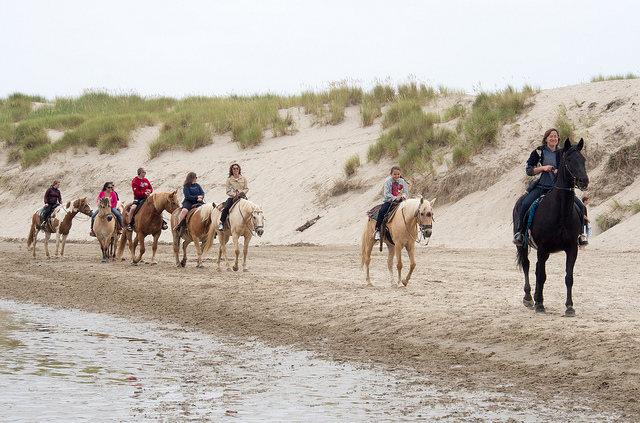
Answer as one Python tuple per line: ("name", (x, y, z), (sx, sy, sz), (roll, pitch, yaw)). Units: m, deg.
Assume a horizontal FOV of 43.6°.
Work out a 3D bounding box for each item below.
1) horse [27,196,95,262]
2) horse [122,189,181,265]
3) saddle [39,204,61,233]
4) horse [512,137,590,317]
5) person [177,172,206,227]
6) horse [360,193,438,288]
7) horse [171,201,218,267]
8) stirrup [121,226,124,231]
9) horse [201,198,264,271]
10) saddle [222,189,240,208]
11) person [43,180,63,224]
("horse", (-9.159, 0.667, 28.075), (2.932, 2.108, 0.704), (-5, -7, 28))
("horse", (-5.586, 0.569, 25.756), (0.887, 2.418, 3.316), (6, -7, -43))
("saddle", (-9.515, 0.146, 28.075), (0.693, 0.712, 0.212), (2, 10, 3))
("horse", (4.990, 0.267, 17.050), (1.585, 3.645, 1.027), (7, 14, 37))
("person", (-4.020, -0.348, 25.433), (0.961, 1.755, 0.800), (1, 14, -3))
("horse", (2.049, 0.871, 20.910), (0.886, 2.332, 3.318), (6, -5, -23))
("horse", (-3.852, 0.754, 25.039), (0.823, 2.007, 2.972), (2, -2, -38))
("stirrup", (-6.502, 0.553, 26.395), (0.046, 0.150, 0.146), (-4, -4, -4))
("horse", (-2.559, 0.763, 24.089), (0.814, 2.280, 3.223), (6, -4, -35))
("saddle", (-2.775, -0.395, 25.195), (0.143, 0.678, 0.370), (11, 17, -44))
("person", (-9.444, -0.391, 28.206), (0.661, 1.517, 1.719), (-5, 12, -19))
